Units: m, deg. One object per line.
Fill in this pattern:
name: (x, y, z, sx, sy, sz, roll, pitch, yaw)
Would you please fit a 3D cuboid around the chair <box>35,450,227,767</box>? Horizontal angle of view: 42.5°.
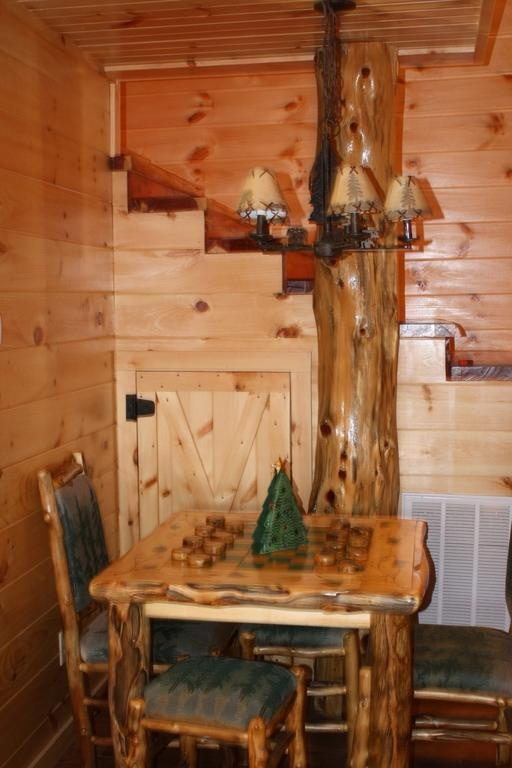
chair: (-0.208, 0.568, 2.411, 0.783, 1.351, 0.725, 0, 12, 4)
